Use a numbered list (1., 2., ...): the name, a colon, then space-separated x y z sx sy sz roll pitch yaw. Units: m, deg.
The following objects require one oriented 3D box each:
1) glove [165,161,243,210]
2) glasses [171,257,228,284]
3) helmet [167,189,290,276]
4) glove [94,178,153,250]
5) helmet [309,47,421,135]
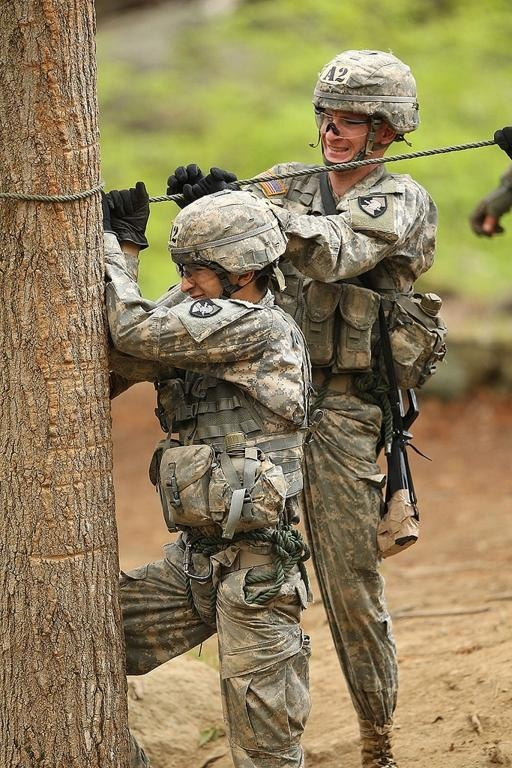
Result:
1. glove: -0.196 -0.720 4.105 0.209 0.097 0.225 -9 -19 -30
2. glasses: -0.171 -0.356 3.712 0.129 0.031 0.096 27 -23 -38
3. helmet: -0.113 -0.484 3.708 0.351 0.175 0.333 -6 5 -36
4. glove: -0.451 -0.577 3.955 0.260 0.188 0.071 12 2 4
5. helmet: 0.469 -1.184 4.683 0.426 0.260 0.407 11 4 33
